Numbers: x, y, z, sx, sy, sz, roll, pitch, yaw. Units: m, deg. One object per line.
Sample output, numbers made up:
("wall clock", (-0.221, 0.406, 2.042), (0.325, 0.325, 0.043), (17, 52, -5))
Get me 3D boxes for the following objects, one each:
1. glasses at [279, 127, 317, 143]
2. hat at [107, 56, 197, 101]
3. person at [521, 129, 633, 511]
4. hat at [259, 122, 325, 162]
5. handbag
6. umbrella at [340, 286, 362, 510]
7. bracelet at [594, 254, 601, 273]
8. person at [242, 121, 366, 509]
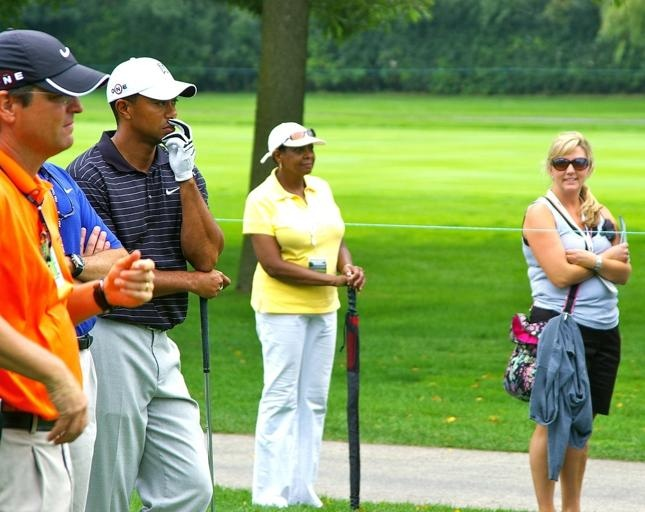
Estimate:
("glasses", (-0.193, -0.818, 10.117), (0.137, 0.063, 0.188), (-7, 8, -36))
("hat", (-0.990, -1.010, 8.822), (0.413, 0.193, 0.274), (-10, 5, 18))
("person", (1.607, 0.427, 9.648), (0.685, 2.421, 0.676), (2, 8, -3))
("hat", (-0.201, -0.799, 10.166), (0.211, 0.138, 0.302), (-16, 11, -35))
("handbag", (1.277, 0.662, 9.585), (0.218, 0.571, 0.404), (0, 8, -17))
("umbrella", (0.201, 0.916, 9.853), (0.147, 1.404, 0.384), (2, 8, 1))
("bracelet", (1.727, 0.044, 9.574), (0.065, 0.090, 0.086), (5, -17, 3))
("person", (-0.141, 0.371, 10.049), (0.757, 2.477, 0.778), (1, 8, -11))
